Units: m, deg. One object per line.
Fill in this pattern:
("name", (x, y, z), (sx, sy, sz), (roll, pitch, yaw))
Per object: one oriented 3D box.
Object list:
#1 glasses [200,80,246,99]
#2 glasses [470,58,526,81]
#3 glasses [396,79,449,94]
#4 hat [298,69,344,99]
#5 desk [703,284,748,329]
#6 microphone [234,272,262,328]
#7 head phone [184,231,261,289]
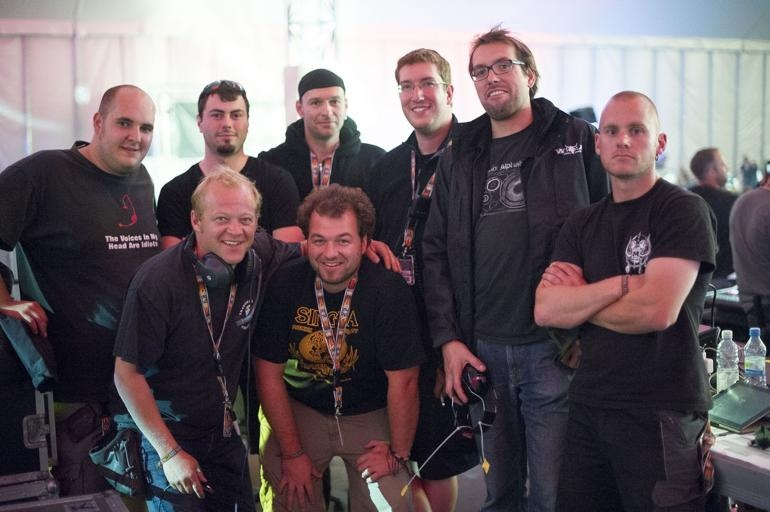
("glasses", (-1.229, -1.269, 5.616), (0.323, 0.164, 0.206), (-1, 7, -5))
("glasses", (0.764, -1.251, 4.964), (0.368, 0.137, 0.090), (0, 7, 5))
("glasses", (0.290, -1.254, 5.447), (0.376, 0.098, 0.139), (0, 7, 1))
("hat", (-0.502, -1.373, 5.881), (0.268, 0.157, 0.264), (0, 8, 24))
("desk", (3.597, 0.556, 7.799), (0.413, 0.390, 0.687), (2, 7, 24))
("microphone", (-0.942, 0.307, 4.881), (0.086, 0.296, 0.230), (15, 16, 17))
("head phone", (-1.053, 0.028, 4.701), (0.356, 0.163, 0.401), (-12, 46, -47))
